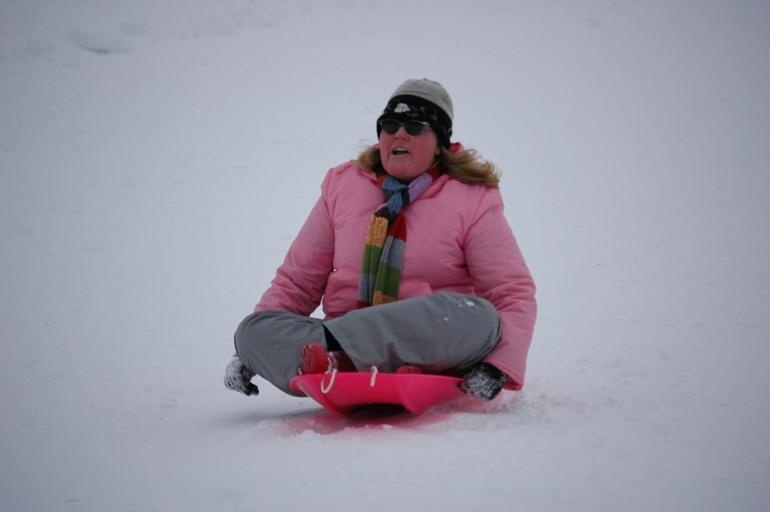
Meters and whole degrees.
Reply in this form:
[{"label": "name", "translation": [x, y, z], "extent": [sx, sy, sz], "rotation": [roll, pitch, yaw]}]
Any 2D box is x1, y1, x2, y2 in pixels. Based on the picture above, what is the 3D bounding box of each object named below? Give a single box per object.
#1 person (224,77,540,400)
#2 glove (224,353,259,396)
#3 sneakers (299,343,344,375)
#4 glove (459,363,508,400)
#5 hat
[{"label": "person", "translation": [0.029, -0.087, 3.139], "extent": [1.183, 1.351, 0.817], "rotation": [2, 5, 10]}, {"label": "glove", "translation": [-0.589, 0.480, 3.156], "extent": [0.146, 0.138, 0.092], "rotation": [4, -5, 18]}, {"label": "sneakers", "translation": [-0.248, 0.394, 2.939], "extent": [0.156, 0.150, 0.096], "rotation": [3, -9, -38]}, {"label": "glove", "translation": [0.383, 0.492, 2.966], "extent": [0.147, 0.146, 0.054], "rotation": [37, -15, 2]}, {"label": "hat", "translation": [0.155, -0.653, 3.448], "extent": [0.305, 0.264, 0.312], "rotation": [18, 1, 3]}]
